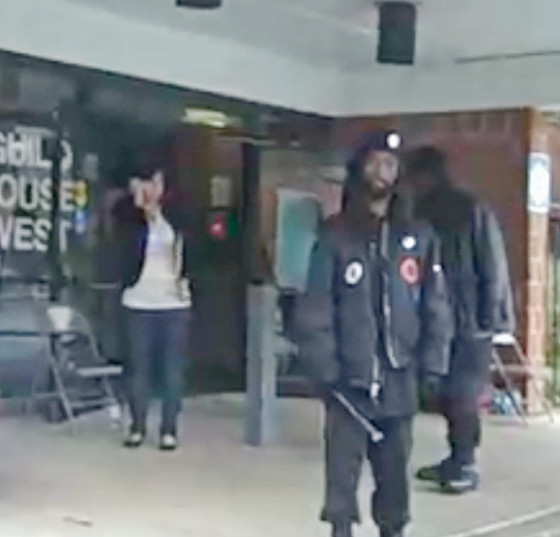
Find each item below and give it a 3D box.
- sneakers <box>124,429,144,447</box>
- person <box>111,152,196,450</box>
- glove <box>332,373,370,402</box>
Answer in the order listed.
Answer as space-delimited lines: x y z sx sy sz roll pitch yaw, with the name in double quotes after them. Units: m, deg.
-0.939 1.093 4.540 0.133 0.101 0.091 5 -5 -6 "sneakers"
-0.814 0.246 4.559 0.423 1.792 0.492 1 1 -13 "person"
0.285 0.477 2.798 0.136 0.087 0.045 24 2 7 "glove"
